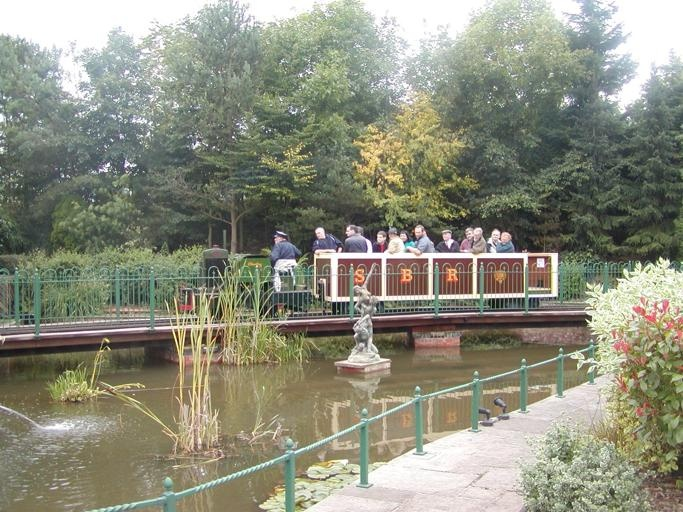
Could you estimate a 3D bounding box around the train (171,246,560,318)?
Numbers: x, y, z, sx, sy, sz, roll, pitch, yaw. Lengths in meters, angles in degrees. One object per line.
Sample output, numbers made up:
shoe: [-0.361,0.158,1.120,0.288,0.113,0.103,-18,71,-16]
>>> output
train: [2.211,0.781,23.309,9.774,2.123,1.026,-3,-5,-17]
